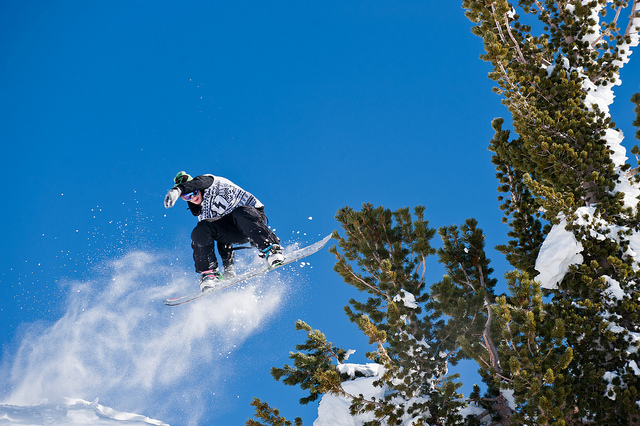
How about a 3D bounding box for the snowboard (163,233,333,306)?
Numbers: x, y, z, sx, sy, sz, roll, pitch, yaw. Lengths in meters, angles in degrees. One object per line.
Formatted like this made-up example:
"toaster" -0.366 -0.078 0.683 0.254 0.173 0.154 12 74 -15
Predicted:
"snowboard" -1.939 1.106 23.494 3.648 0.266 0.557 -27 -2 -2
